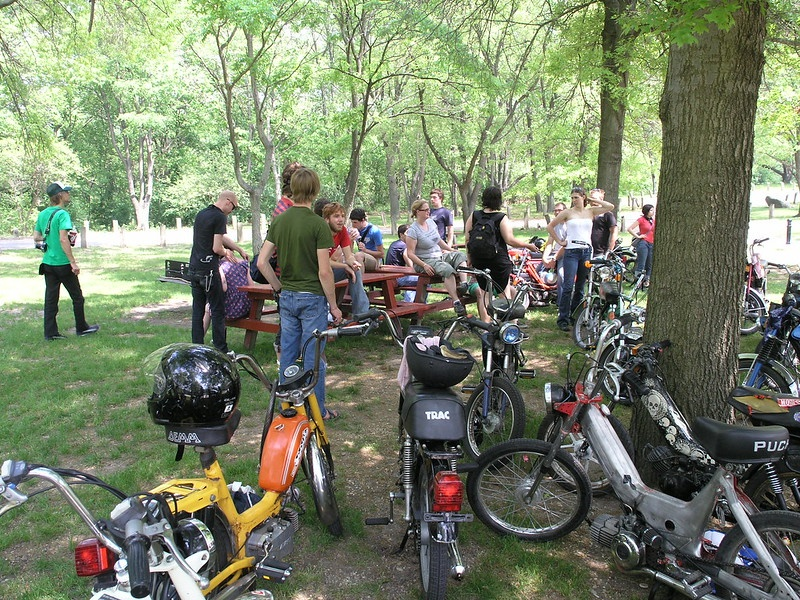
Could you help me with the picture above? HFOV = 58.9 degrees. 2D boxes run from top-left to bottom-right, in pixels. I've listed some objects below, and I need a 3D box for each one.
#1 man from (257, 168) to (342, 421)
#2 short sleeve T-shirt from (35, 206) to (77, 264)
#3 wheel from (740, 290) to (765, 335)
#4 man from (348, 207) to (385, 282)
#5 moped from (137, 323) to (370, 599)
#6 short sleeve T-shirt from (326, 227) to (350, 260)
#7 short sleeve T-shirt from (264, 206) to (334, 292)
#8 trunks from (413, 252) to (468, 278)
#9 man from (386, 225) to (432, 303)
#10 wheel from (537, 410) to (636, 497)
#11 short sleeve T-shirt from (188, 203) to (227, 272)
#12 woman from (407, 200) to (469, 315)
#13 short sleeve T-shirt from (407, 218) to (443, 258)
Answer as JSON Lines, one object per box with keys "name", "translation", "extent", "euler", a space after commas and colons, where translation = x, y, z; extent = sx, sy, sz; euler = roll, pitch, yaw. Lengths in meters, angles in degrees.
{"name": "man", "translation": [-1.055, -0.022, 7.547], "extent": [0.831, 2.642, 0.592], "euler": [5, 12, 17]}
{"name": "short sleeve T-shirt", "translation": [-5.070, -0.949, 10.425], "extent": [0.447, 0.851, 0.667], "euler": [-6, 12, -27]}
{"name": "wheel", "translation": [5.242, 0.188, 10.556], "extent": [0.631, 0.649, 0.205], "euler": [25, -13, -37]}
{"name": "man", "translation": [-0.624, -0.806, 11.517], "extent": [0.536, 1.345, 0.730], "euler": [-1, -1, 37]}
{"name": "moped", "translation": [-1.326, 1.034, 5.921], "extent": [1.366, 1.644, 2.208], "euler": [3, 17, 27]}
{"name": "short sleeve T-shirt", "translation": [-0.767, -0.688, 9.172], "extent": [0.300, 0.432, 0.175], "euler": [12, 0, 18]}
{"name": "short sleeve T-shirt", "translation": [-1.040, -0.521, 7.345], "extent": [0.892, 0.906, 0.356], "euler": [9, 17, 30]}
{"name": "trunks", "translation": [0.740, -0.573, 10.491], "extent": [0.412, 0.252, 0.671], "euler": [9, -10, -25]}
{"name": "man", "translation": [0.068, -0.525, 12.700], "extent": [0.812, 1.587, 0.605], "euler": [6, -2, -18]}
{"name": "wheel", "translation": [1.577, 1.337, 6.066], "extent": [0.728, 0.783, 0.144], "euler": [10, 15, 26]}
{"name": "short sleeve T-shirt", "translation": [-2.535, -0.745, 9.319], "extent": [0.586, 0.956, 0.367], "euler": [5, -5, 30]}
{"name": "woman", "translation": [0.568, -0.680, 10.690], "extent": [0.884, 1.723, 0.730], "euler": [0, 15, 43]}
{"name": "short sleeve T-shirt", "translation": [0.362, -0.917, 10.737], "extent": [0.407, 0.723, 0.710], "euler": [2, 13, 39]}
